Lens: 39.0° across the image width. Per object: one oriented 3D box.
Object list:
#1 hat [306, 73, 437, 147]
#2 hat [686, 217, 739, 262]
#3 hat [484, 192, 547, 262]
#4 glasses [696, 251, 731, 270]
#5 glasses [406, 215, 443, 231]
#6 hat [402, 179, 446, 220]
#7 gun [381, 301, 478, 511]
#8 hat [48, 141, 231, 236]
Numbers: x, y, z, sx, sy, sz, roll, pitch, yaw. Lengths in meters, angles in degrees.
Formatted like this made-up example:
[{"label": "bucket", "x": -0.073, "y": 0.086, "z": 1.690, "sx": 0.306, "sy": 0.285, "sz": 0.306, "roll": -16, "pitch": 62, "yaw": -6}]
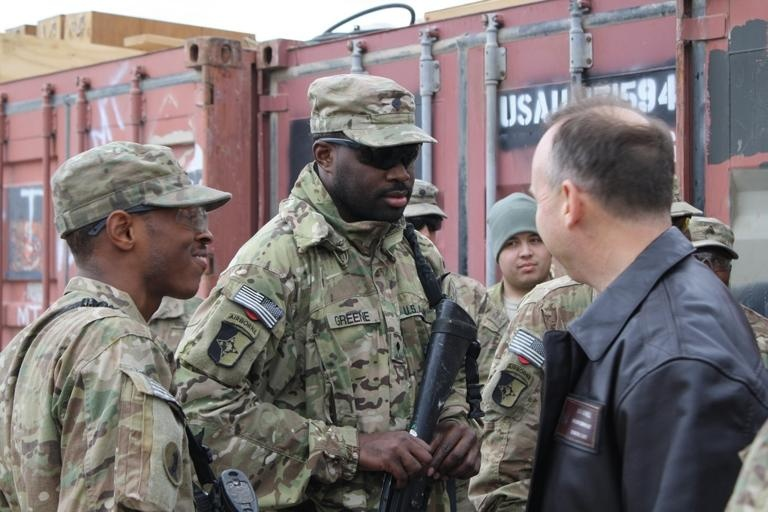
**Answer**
[{"label": "hat", "x": -0.076, "y": -0.574, "z": 4.393, "sx": 0.401, "sy": 0.211, "sz": 0.306, "roll": 2, "pitch": 3, "yaw": 39}, {"label": "hat", "x": 1.450, "y": -0.068, "z": 4.767, "sx": 0.211, "sy": 0.118, "sz": 0.160, "roll": 11, "pitch": 1, "yaw": -12}, {"label": "hat", "x": 0.683, "y": -0.164, "z": 5.673, "sx": 0.235, "sy": 0.293, "sz": 0.334, "roll": -3, "pitch": -9, "yaw": -8}, {"label": "glasses", "x": 1.486, "y": 0.031, "z": 4.837, "sx": 0.146, "sy": 0.067, "sz": 0.106, "roll": 5, "pitch": -1, "yaw": -34}, {"label": "glasses", "x": 0.229, "y": -0.180, "z": 5.799, "sx": 0.095, "sy": 0.050, "sz": 0.127, "roll": 6, "pitch": -19, "yaw": -28}, {"label": "hat", "x": 0.213, "y": -0.308, "z": 5.836, "sx": 0.196, "sy": 0.117, "sz": 0.206, "roll": 1, "pitch": -7, "yaw": -4}, {"label": "gun", "x": 0.172, "y": 0.591, "z": 4.278, "sx": 0.290, "sy": 0.840, "sz": 0.108, "roll": 22, "pitch": -6, "yaw": -31}, {"label": "hat", "x": -0.937, "y": -0.296, "z": 3.964, "sx": 0.480, "sy": 0.260, "sz": 0.348, "roll": -10, "pitch": 4, "yaw": -16}]
